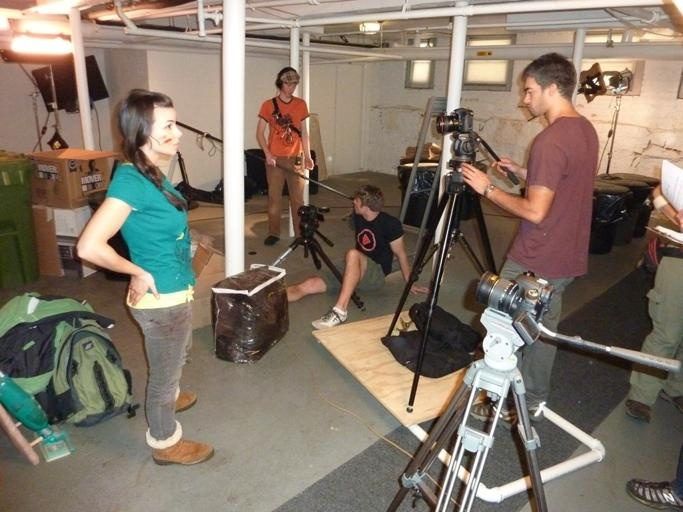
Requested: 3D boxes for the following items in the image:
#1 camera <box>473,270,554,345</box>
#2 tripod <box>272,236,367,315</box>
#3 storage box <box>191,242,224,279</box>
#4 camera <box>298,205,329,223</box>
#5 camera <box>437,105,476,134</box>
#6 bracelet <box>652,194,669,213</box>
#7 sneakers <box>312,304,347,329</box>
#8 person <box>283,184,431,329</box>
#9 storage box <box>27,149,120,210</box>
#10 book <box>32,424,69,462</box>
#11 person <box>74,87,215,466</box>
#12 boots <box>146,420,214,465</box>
[{"bbox_3d":[0.891,0.205,2.582,0.403,0.234,0.337,12,27,12],"label":"camera"},{"bbox_3d":[-0.318,0.158,5.094,0.880,0.419,0.738,-1,6,-42],"label":"tripod"},{"bbox_3d":[-1.296,0.060,4.811,0.302,0.290,0.302,12,-15,-41],"label":"storage box"},{"bbox_3d":[-0.240,-0.413,4.879,0.327,0.127,0.228,-1,7,-30],"label":"camera"},{"bbox_3d":[0.815,-0.968,3.571,0.219,0.140,0.204,-9,22,-12],"label":"camera"},{"bbox_3d":[1.664,-0.275,2.642,0.073,0.069,0.071,15,-8,0],"label":"bracelet"},{"bbox_3d":[-0.111,0.585,4.755,0.410,0.175,0.144,-20,55,-25],"label":"sneakers"},{"bbox_3d":[0.042,-0.064,4.989,1.016,1.168,1.527,18,28,40],"label":"person"},{"bbox_3d":[-3.086,-0.895,5.726,0.842,0.579,0.463,8,18,24],"label":"storage box"},{"bbox_3d":[-1.934,1.264,3.403,0.202,0.082,0.279,-15,34,-34],"label":"book"},{"bbox_3d":[-1.123,0.179,2.951,0.407,2.186,0.595,3,21,7],"label":"person"},{"bbox_3d":[-1.002,1.183,3.400,0.512,0.361,0.212,-4,35,-9],"label":"boots"}]
